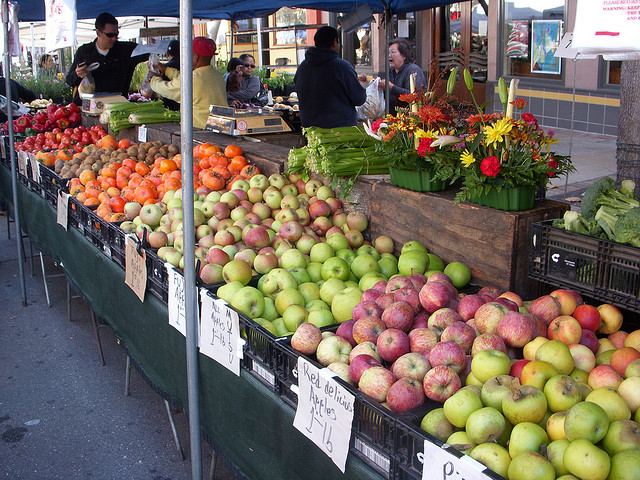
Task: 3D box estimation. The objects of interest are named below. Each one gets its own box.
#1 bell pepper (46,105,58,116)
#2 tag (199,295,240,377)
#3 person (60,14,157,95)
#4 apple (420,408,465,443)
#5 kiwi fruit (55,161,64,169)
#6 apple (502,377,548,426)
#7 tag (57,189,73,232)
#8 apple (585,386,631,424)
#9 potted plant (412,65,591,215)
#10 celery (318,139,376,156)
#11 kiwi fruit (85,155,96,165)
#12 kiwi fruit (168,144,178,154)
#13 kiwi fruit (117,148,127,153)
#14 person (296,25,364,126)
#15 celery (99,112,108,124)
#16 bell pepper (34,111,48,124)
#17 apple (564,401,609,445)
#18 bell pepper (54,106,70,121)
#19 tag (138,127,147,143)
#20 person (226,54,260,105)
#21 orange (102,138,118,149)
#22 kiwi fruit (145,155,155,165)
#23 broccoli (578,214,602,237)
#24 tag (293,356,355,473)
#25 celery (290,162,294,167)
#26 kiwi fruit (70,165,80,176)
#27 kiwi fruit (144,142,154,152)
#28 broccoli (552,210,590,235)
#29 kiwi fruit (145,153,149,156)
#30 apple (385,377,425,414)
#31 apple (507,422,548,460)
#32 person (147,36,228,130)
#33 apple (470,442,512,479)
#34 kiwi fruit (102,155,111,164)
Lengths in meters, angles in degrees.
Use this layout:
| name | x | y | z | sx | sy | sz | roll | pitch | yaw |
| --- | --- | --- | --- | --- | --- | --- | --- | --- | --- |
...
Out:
| name | x | y | z | sx | sy | sz | roll | pitch | yaw |
| --- | --- | --- | --- | --- | --- | --- | --- | --- | --- |
| bell pepper | -3.976 | -1.946 | 6.798 | 0.133 | 0.086 | 0.149 | 6 | 40 | 0 |
| tag | -0.474 | 0.432 | 2.144 | 0.037 | 0.292 | 0.342 | -13 | 19 | -41 |
| person | -3.348 | -2.860 | 7.197 | 0.972 | 1.091 | 1.479 | -11 | 19 | -34 |
| apple | 0.407 | 0.619 | 1.545 | 0.159 | 0.090 | 0.148 | -2 | 11 | 12 |
| kiwi fruit | -2.777 | -0.789 | 4.872 | 0.073 | 0.083 | 0.091 | 13 | 0 | -22 |
| apple | 0.657 | 0.516 | 1.458 | 0.140 | 0.136 | 0.095 | 3 | 15 | 16 |
| tag | -2.200 | -0.253 | 3.950 | 0.095 | 0.319 | 0.289 | -5 | 15 | -38 |
| apple | 0.904 | 0.506 | 1.452 | 0.096 | 0.115 | 0.102 | 3 | 3 | 11 |
| potted plant | 0.892 | -0.561 | 2.570 | 0.832 | 0.699 | 0.941 | 13 | 8 | -32 |
| celery | 0.179 | -0.669 | 3.338 | 0.386 | 0.065 | 0.083 | -17 | 31 | -12 |
| kiwi fruit | -2.428 | -0.839 | 4.833 | 0.097 | 0.061 | 0.111 | -5 | 43 | -2 |
| kiwi fruit | -1.558 | -0.960 | 4.856 | 0.067 | 0.078 | 0.098 | -7 | 26 | -8 |
| kiwi fruit | -2.154 | -0.970 | 4.983 | 0.071 | 0.057 | 0.091 | -11 | 23 | -44 |
| person | 0.121 | -1.884 | 5.343 | 0.786 | 1.080 | 0.398 | -2 | 14 | -3 |
| celery | -2.976 | -1.668 | 6.272 | 0.134 | 0.178 | 0.059 | 4 | -7 | -19 |
| bell pepper | -4.086 | -1.788 | 6.713 | 0.159 | 0.174 | 0.278 | -10 | 18 | -31 |
| apple | 0.776 | 0.522 | 1.388 | 0.130 | 0.114 | 0.117 | -9 | 12 | -30 |
| bell pepper | -3.796 | -1.868 | 6.753 | 0.190 | 0.187 | 0.173 | 2 | -22 | 13 |
| tag | -2.250 | -1.326 | 5.796 | 0.040 | 0.185 | 0.162 | -2 | 7 | -43 |
| person | -1.532 | -3.052 | 8.936 | 0.527 | 1.053 | 0.637 | 13 | 30 | -12 |
| orange | -2.430 | -1.106 | 5.275 | 0.122 | 0.132 | 0.136 | -7 | 41 | -17 |
| kiwi fruit | -1.762 | -0.825 | 4.743 | 0.085 | 0.099 | 0.050 | -12 | -7 | -7 |
| broccoli | 1.219 | -0.063 | 2.055 | 0.072 | 0.038 | 0.103 | -21 | 51 | -21 |
| tag | 0.007 | 0.614 | 1.633 | 0.025 | 0.284 | 0.315 | -4 | 18 | -41 |
| celery | -0.219 | -0.582 | 3.547 | 0.034 | 0.031 | 0.023 | 10 | 18 | 34 |
| kiwi fruit | -2.465 | -0.712 | 4.607 | 0.090 | 0.034 | 0.105 | -9 | 59 | -3 |
| kiwi fruit | -1.834 | -0.993 | 4.892 | 0.092 | 0.042 | 0.100 | 5 | 6 | 16 |
| broccoli | 1.150 | -0.095 | 2.090 | 0.089 | 0.070 | 0.125 | -19 | 27 | -10 |
| kiwi fruit | -1.805 | -0.885 | 4.777 | 0.027 | 0.029 | 0.027 | 13 | 16 | 40 |
| apple | 0.303 | 0.542 | 1.666 | 0.102 | 0.119 | 0.110 | 5 | 13 | -15 |
| apple | 0.625 | 0.585 | 1.398 | 0.093 | 0.103 | 0.096 | -22 | 25 | -24 |
| person | -1.663 | -1.930 | 5.712 | 0.907 | 1.061 | 1.910 | -6 | 17 | -19 |
| apple | 0.526 | 0.648 | 1.426 | 0.090 | 0.103 | 0.094 | 15 | 5 | 1 |
| kiwi fruit | -2.262 | -0.852 | 4.834 | 0.068 | 0.043 | 0.077 | 2 | 36 | -4 |
